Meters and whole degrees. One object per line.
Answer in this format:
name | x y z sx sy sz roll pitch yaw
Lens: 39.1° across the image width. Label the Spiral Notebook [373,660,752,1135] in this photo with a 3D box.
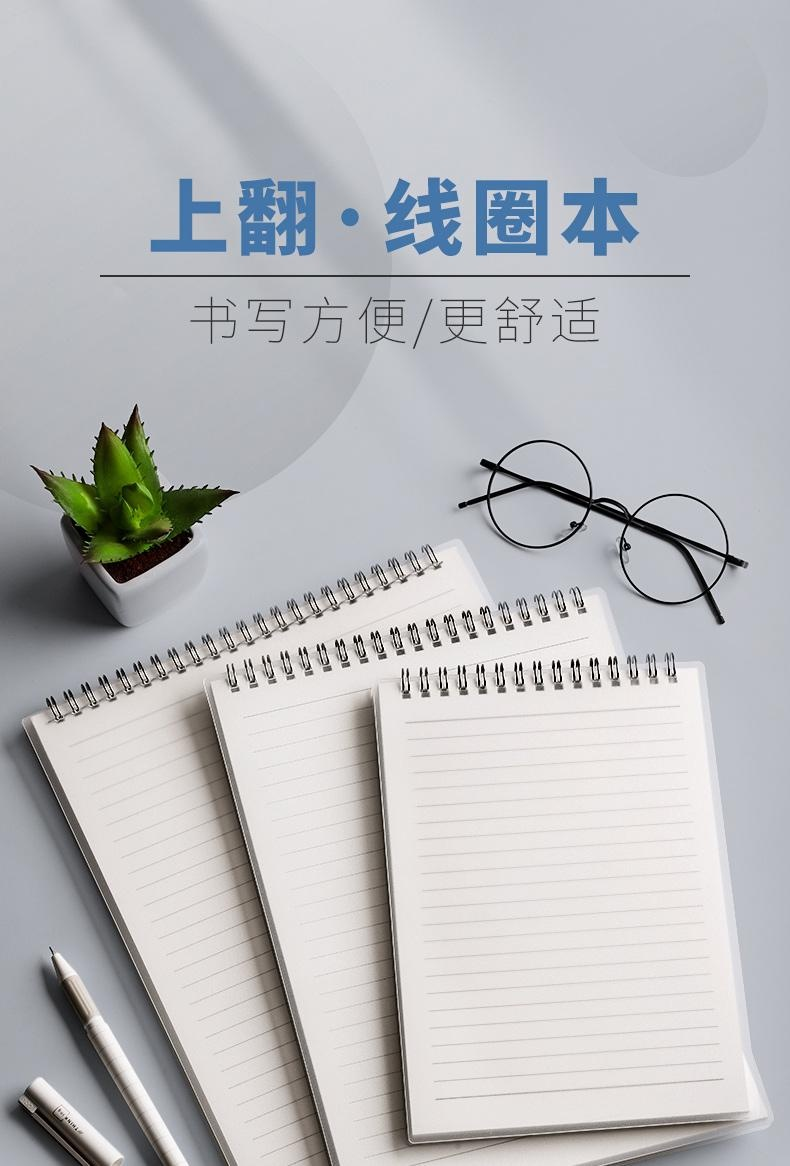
Spiral Notebook | 0.125 0.193 0.711 0.250 0.294 0.071 -3 -14 -6
